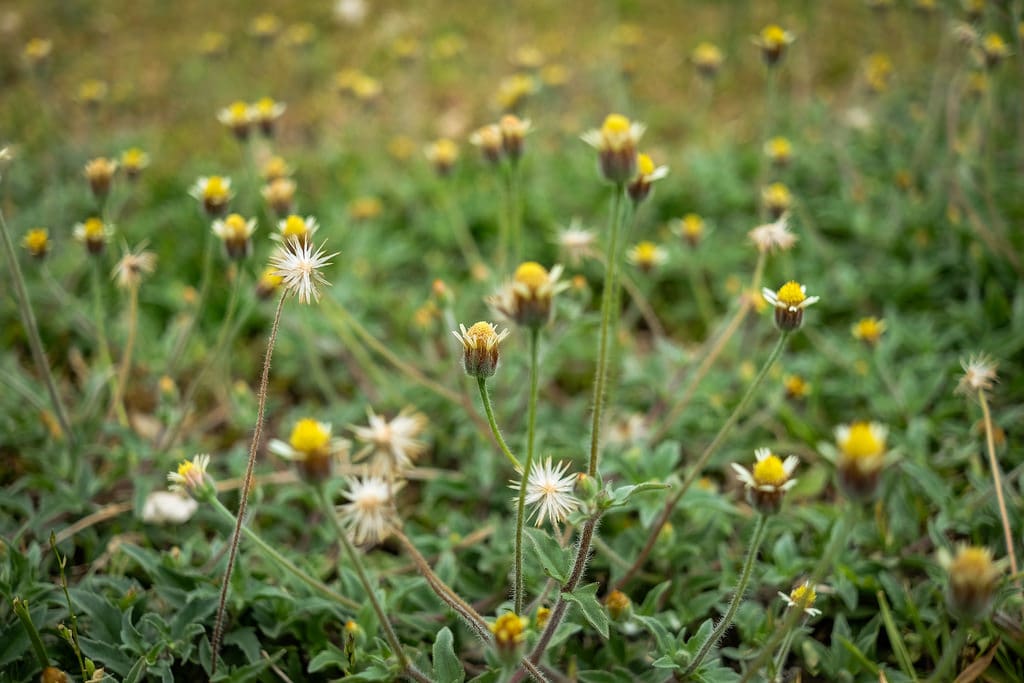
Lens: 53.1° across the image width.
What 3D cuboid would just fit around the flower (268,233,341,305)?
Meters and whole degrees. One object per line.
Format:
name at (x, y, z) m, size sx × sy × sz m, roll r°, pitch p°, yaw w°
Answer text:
flower at (-0.785, -0.298, 3.799) m, size 0.233 × 0.261 × 0.117 m, roll -7°, pitch 77°, yaw 26°

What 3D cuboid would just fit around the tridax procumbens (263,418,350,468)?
tridax procumbens at (-0.706, 0.360, 3.597) m, size 0.192 × 0.214 × 0.133 m, roll -6°, pitch 79°, yaw -12°
